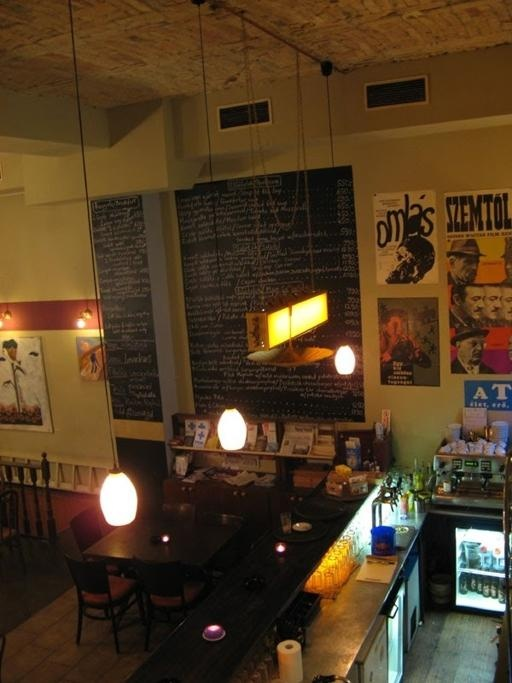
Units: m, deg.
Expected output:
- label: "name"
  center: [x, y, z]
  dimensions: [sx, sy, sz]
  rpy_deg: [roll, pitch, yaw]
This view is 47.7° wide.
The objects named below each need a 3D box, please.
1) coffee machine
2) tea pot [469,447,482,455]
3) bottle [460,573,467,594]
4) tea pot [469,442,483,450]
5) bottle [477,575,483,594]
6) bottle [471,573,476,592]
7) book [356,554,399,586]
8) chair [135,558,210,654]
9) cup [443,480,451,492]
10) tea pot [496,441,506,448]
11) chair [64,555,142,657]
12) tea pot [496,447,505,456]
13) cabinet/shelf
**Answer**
- label: "coffee machine"
  center: [1.762, 1.152, 4.792]
  dimensions: [0.674, 0.455, 0.450]
  rpy_deg: [0, 0, 20]
- label: "tea pot"
  center: [1.830, 0.907, 4.808]
  dimensions: [0.084, 0.053, 0.108]
  rpy_deg: [0, 1, 21]
- label: "bottle"
  center: [1.780, 2.083, 4.979]
  dimensions: [0.089, 0.180, 0.020]
  rpy_deg: [-7, 7, -17]
- label: "tea pot"
  center: [1.845, 0.889, 4.860]
  dimensions: [0.097, 0.067, 0.129]
  rpy_deg: [-1, 9, 20]
- label: "bottle"
  center: [1.913, 2.088, 4.959]
  dimensions: [0.048, 0.173, 0.025]
  rpy_deg: [-3, 7, 18]
- label: "bottle"
  center: [1.867, 2.080, 4.973]
  dimensions: [0.047, 0.167, 0.025]
  rpy_deg: [-3, 7, 18]
- label: "book"
  center: [0.827, 1.568, 3.986]
  dimensions: [0.247, 0.067, 0.293]
  rpy_deg: [-1, 7, 23]
- label: "chair"
  center: [-0.663, 2.023, 4.655]
  dimensions: [0.424, 0.624, 0.446]
  rpy_deg: [-4, 3, 20]
- label: "cup"
  center: [1.592, 1.209, 4.827]
  dimensions: [0.081, 0.082, 0.077]
  rpy_deg: [-3, -1, 0]
- label: "tea pot"
  center: [2.054, 0.866, 4.840]
  dimensions: [0.068, 0.046, 0.092]
  rpy_deg: [1, 10, 10]
- label: "chair"
  center: [-1.273, 2.138, 4.881]
  dimensions: [0.457, 0.692, 0.521]
  rpy_deg: [-5, -1, 31]
- label: "tea pot"
  center: [1.987, 0.901, 4.716]
  dimensions: [0.037, 0.024, 0.084]
  rpy_deg: [9, 24, 14]
- label: "cabinet/shelf"
  center: [-0.060, 1.059, 6.066]
  dimensions: [1.654, 0.416, 0.243]
  rpy_deg: [-1, 15, 28]
